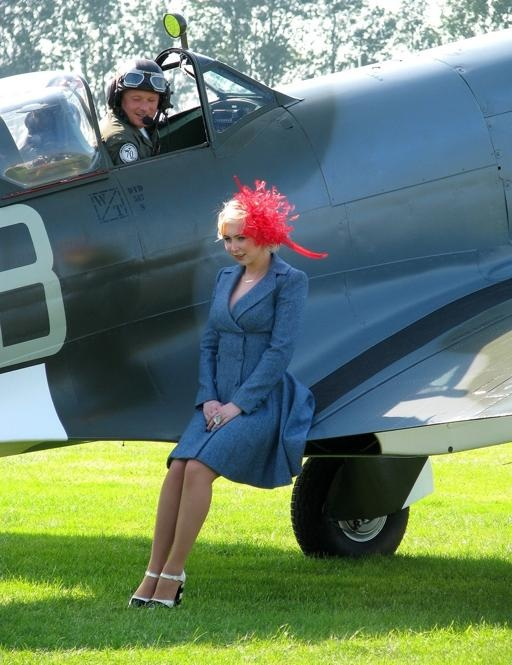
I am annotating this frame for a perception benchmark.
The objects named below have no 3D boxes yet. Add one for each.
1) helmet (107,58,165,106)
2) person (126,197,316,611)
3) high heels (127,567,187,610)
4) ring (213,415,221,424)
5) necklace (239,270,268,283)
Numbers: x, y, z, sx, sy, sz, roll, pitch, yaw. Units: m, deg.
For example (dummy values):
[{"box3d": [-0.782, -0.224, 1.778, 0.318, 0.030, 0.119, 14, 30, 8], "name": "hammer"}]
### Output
[{"box3d": [-0.599, -1.298, 4.218, 0.315, 0.189, 0.275, 7, -3, -13], "name": "helmet"}, {"box3d": [-0.117, 0.282, 3.327, 0.706, 1.679, 0.348, 2, -8, 6], "name": "person"}, {"box3d": [-0.378, 1.042, 3.204, 0.141, 0.086, 0.249, -5, -15, 33], "name": "high heels"}, {"box3d": [-0.158, 0.360, 3.253, 0.034, 0.037, 0.015, -5, -11, 43], "name": "ring"}, {"box3d": [-0.027, -0.240, 3.443, 0.065, 0.052, 0.015, -21, -10, 38], "name": "necklace"}]
